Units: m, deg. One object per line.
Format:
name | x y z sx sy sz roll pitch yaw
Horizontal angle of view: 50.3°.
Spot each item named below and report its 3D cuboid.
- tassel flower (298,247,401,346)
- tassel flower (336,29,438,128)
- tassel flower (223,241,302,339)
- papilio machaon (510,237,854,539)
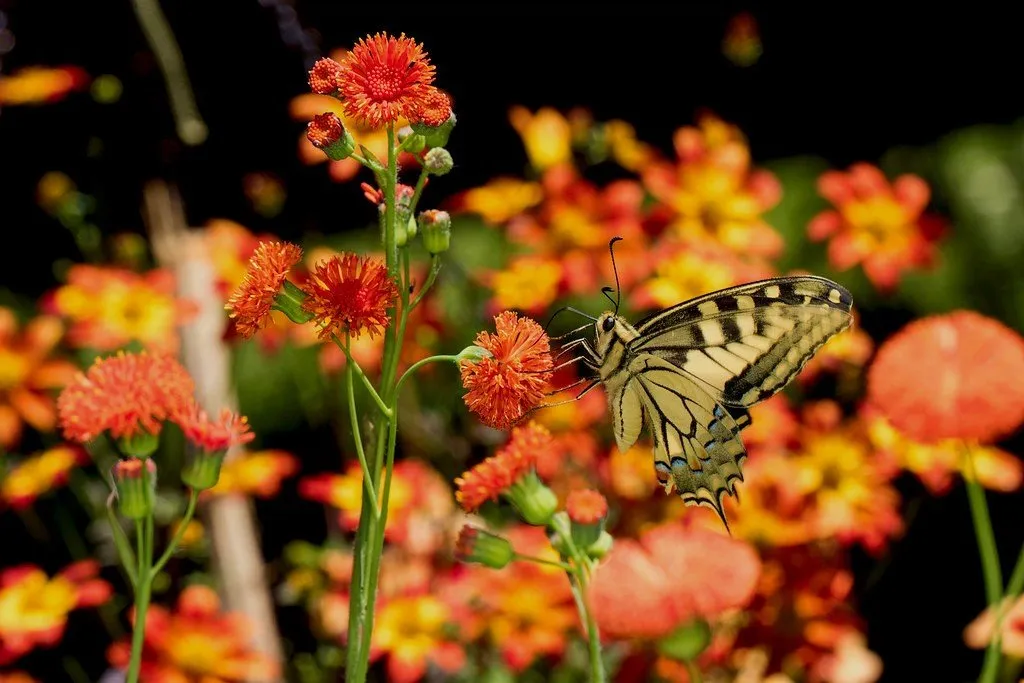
tassel flower | -0.200 -0.057 1.317 0.068 0.146 0.066 1 5 17
tassel flower | -0.153 -0.321 1.316 0.118 0.098 0.067 -13 26 -8
tassel flower | -0.301 -0.073 1.366 0.057 0.108 0.104 34 8 2
papilio machaon | 0.308 0.056 1.681 0.350 0.283 0.249 -21 28 -22
